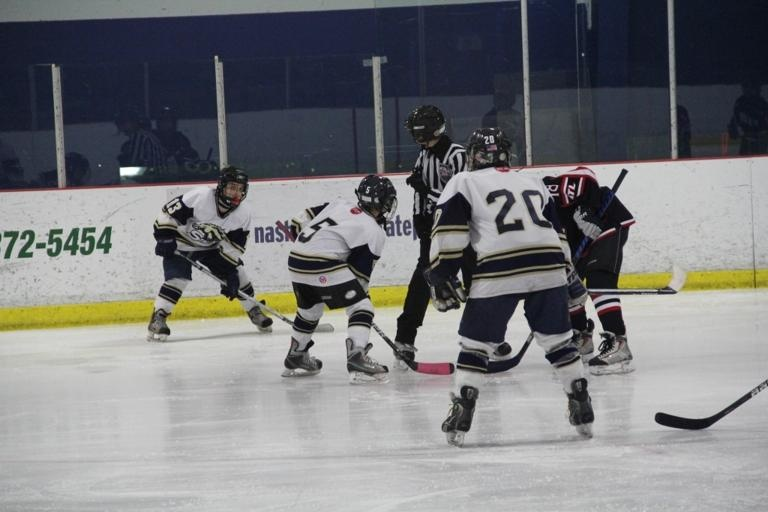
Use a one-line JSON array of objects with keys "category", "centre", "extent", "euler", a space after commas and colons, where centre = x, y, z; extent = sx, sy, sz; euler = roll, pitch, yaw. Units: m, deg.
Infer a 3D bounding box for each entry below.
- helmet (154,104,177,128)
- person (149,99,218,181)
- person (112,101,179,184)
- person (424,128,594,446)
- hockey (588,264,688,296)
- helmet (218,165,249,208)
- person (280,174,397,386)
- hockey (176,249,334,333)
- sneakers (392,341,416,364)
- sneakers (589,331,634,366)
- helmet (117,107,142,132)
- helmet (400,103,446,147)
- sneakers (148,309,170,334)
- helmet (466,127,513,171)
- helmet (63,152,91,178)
[{"category": "helmet", "centre": [-2.252, -1.454, 10.311], "extent": [0.198, 0.247, 0.210], "euler": [0, 10, 2]}, {"category": "person", "centre": [-2.057, -1.209, 10.467], "extent": [0.622, 0.802, 0.296], "euler": [-25, 6, 21]}, {"category": "person", "centre": [-2.495, -1.136, 10.288], "extent": [0.520, 0.730, 0.237], "euler": [-4, 10, -12]}, {"category": "person", "centre": [0.772, 0.169, 6.231], "extent": [0.997, 1.910, 0.564], "euler": [-3, 10, 1]}, {"category": "hockey", "centre": [2.123, 0.213, 8.356], "extent": [1.539, 0.249, 0.304], "euler": [0, -3, -23]}, {"category": "helmet", "centre": [-1.342, -0.635, 8.757], "extent": [0.283, 0.339, 0.357], "euler": [11, 14, -24]}, {"category": "person", "centre": [-0.338, 0.158, 7.314], "extent": [0.890, 1.452, 0.570], "euler": [-3, 10, -1]}, {"category": "hockey", "centre": [-1.187, 0.330, 8.729], "extent": [1.114, 0.161, 0.194], "euler": [31, -36, -10]}, {"category": "sneakers", "centre": [0.140, 0.731, 7.438], "extent": [0.184, 0.145, 0.135], "euler": [-3, 0, -2]}, {"category": "sneakers", "centre": [1.625, 0.688, 7.242], "extent": [0.494, 0.272, 0.174], "euler": [-1, -1, -44]}, {"category": "helmet", "centre": [-2.650, -1.404, 10.311], "extent": [0.273, 0.227, 0.210], "euler": [8, 6, 28]}, {"category": "helmet", "centre": [0.310, -0.981, 7.592], "extent": [0.307, 0.309, 0.349], "euler": [14, 17, 35]}, {"category": "sneakers", "centre": [-1.970, 0.592, 8.687], "extent": [0.187, 0.244, 0.227], "euler": [-5, 10, -14]}, {"category": "helmet", "centre": [0.664, -0.686, 6.436], "extent": [0.295, 0.312, 0.339], "euler": [-5, 6, -3]}, {"category": "helmet", "centre": [-3.136, -0.938, 10.139], "extent": [0.263, 0.238, 0.200], "euler": [-8, 7, -12]}]
